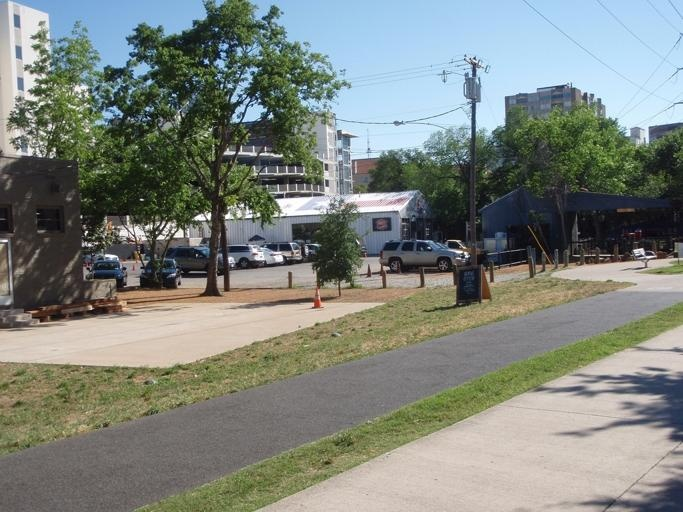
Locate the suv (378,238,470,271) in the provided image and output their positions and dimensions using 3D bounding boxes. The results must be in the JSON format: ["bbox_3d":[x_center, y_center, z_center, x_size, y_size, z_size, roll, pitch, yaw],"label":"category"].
[{"bbox_3d":[4.110,0.000,39.187,3.845,1.611,2.007,-2,1,22],"label":"suv"}]

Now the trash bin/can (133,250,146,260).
[{"bbox_3d":[-16.231,-0.040,58.742,0.630,0.925,1.246,1,-2,-4],"label":"trash bin/can"}]

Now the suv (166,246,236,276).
[{"bbox_3d":[-8.886,0.168,44.796,4.582,2.033,2.273,-2,1,16],"label":"suv"}]

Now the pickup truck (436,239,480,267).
[{"bbox_3d":[7.523,-0.091,46.588,2.367,1.394,1.380,-1,2,10],"label":"pickup truck"}]

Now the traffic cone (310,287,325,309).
[{"bbox_3d":[-0.865,1.429,24.021,0.500,0.769,0.550,-1,-3,-3],"label":"traffic cone"}]

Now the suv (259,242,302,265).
[{"bbox_3d":[-4.164,-0.161,52.660,2.324,1.175,1.373,3,3,21],"label":"suv"}]

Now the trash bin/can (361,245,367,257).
[{"bbox_3d":[1.832,-0.288,57.632,0.455,0.447,0.762,-1,-4,8],"label":"trash bin/can"}]

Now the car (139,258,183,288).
[{"bbox_3d":[-8.924,0.910,36.651,1.200,0.992,2.189,0,-4,-7],"label":"car"}]

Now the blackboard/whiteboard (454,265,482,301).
[{"bbox_3d":[3.999,0.889,22.624,0.880,1.492,0.943,-2,-1,11],"label":"blackboard/whiteboard"}]

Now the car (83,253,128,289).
[{"bbox_3d":[-11.531,1.018,36.089,1.451,1.350,3.652,-5,6,-14],"label":"car"}]

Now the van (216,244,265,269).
[{"bbox_3d":[-6.553,0.054,49.528,2.398,1.224,1.272,2,1,10],"label":"van"}]
